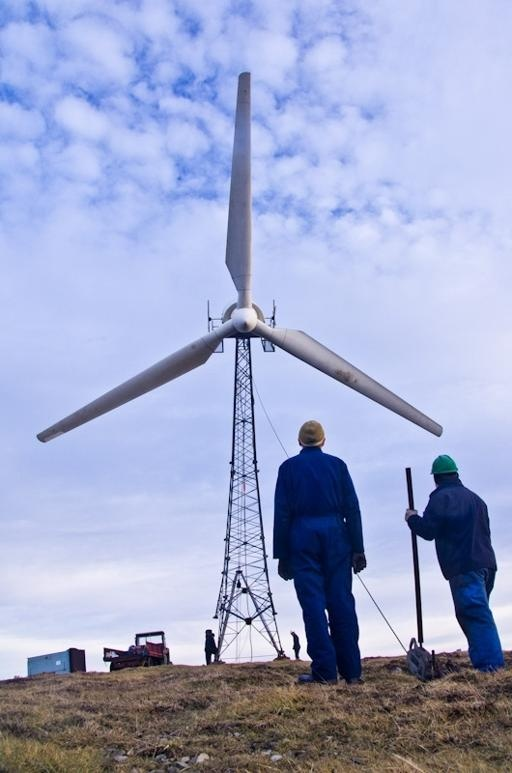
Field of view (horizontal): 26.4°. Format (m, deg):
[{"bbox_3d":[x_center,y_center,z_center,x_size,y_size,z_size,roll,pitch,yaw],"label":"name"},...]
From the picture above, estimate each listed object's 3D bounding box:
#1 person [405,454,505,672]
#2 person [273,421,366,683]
[{"bbox_3d":[2.135,1.758,11.288,0.784,2.188,1.139,-3,-9,-16],"label":"person"},{"bbox_3d":[0.655,1.680,11.320,0.938,2.764,0.864,0,-10,-32],"label":"person"}]
